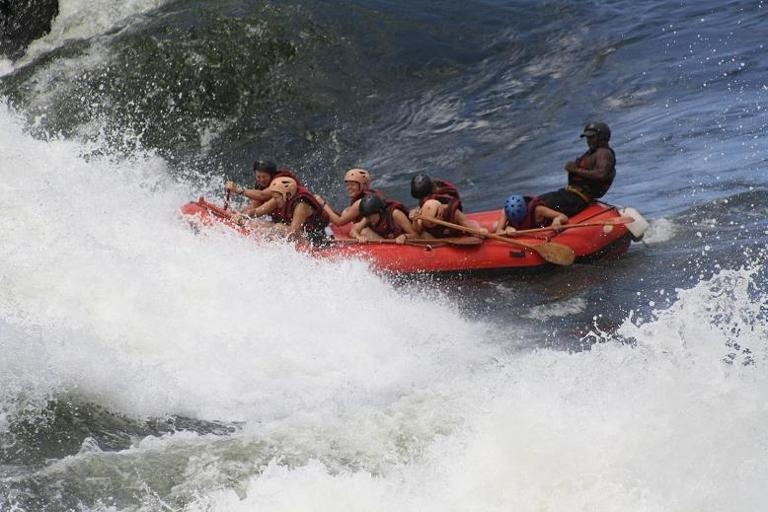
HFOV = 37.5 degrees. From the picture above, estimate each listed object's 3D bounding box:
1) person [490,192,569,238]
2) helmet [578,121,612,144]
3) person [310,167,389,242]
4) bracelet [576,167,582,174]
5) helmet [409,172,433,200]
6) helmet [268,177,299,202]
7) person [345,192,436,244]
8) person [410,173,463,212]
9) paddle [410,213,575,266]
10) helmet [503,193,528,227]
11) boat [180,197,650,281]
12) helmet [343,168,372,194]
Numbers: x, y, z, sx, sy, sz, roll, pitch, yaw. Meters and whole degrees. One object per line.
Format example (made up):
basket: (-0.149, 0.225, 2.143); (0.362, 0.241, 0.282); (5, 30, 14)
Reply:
person: (2.866, -0.820, 22.686); (0.823, 0.372, 1.151); (-19, 7, 40)
helmet: (4.279, -2.498, 22.866); (0.679, 0.424, 0.332); (6, 92, 0)
person: (-0.624, -1.217, 23.128); (1.603, 1.048, 0.948); (-3, 14, 6)
bracelet: (3.875, -1.714, 22.718); (0.124, 0.026, 0.103); (-2, 60, 6)
helmet: (0.774, -1.427, 23.067); (0.448, 0.533, 0.444); (-19, 85, 3)
helmet: (-1.976, -1.332, 22.579); (0.583, 0.386, 0.396); (-21, 27, -12)
person: (0.200, -0.664, 23.215); (1.298, 1.967, 0.751); (-4, 83, 49)
person: (0.866, -1.419, 23.211); (0.626, 0.323, 0.790); (-17, 2, 34)
paddle: (2.182, -0.309, 22.575); (3.192, 0.190, 0.311); (15, 77, 7)
helmet: (2.619, -0.927, 22.677); (0.525, 0.597, 0.569); (2, 87, 15)
boat: (0.374, -0.281, 23.206); (10.278, 1.452, 2.825); (1, 9, 1)
helmet: (-0.463, -1.575, 22.985); (0.626, 0.422, 0.450); (-21, 26, -24)
